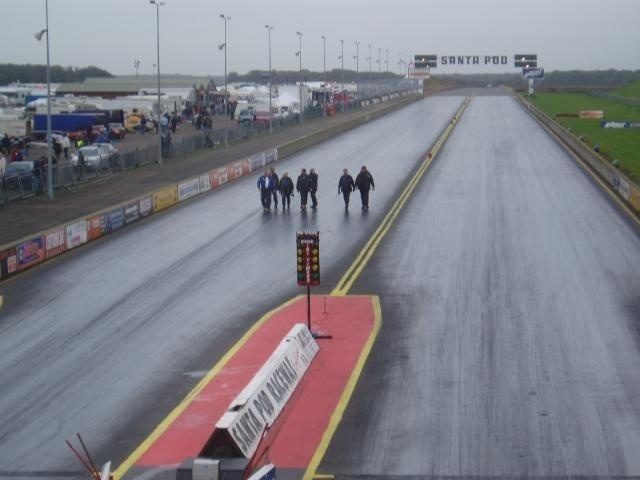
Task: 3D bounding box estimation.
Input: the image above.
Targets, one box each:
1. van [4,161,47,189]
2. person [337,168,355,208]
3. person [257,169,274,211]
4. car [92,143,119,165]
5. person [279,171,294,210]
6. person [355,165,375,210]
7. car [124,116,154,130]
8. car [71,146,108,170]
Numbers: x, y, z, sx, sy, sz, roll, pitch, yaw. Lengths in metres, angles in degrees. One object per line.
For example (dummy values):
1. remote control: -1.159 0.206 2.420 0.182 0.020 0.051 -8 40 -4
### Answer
1. van: -16.278 -3.718 37.527 1.312 1.619 2.749 4 1 16
2. person: 1.319 -2.610 34.180 0.705 2.213 0.648 3 24 9
3. person: -2.719 -2.498 34.096 0.687 2.160 1.415 -2 13 -6
4. car: -14.317 -5.886 45.966 0.853 1.022 2.370 3 7 -2
5. person: -1.695 -2.503 34.167 0.599 1.920 0.663 -7 17 -21
6. person: 2.229 -2.728 34.056 0.881 2.388 0.549 -3 33 2
7. car: -19.501 -12.534 72.490 2.111 1.614 1.597 2 8 4
8. car: -14.862 -5.453 44.191 1.135 1.334 3.035 0 8 -2
